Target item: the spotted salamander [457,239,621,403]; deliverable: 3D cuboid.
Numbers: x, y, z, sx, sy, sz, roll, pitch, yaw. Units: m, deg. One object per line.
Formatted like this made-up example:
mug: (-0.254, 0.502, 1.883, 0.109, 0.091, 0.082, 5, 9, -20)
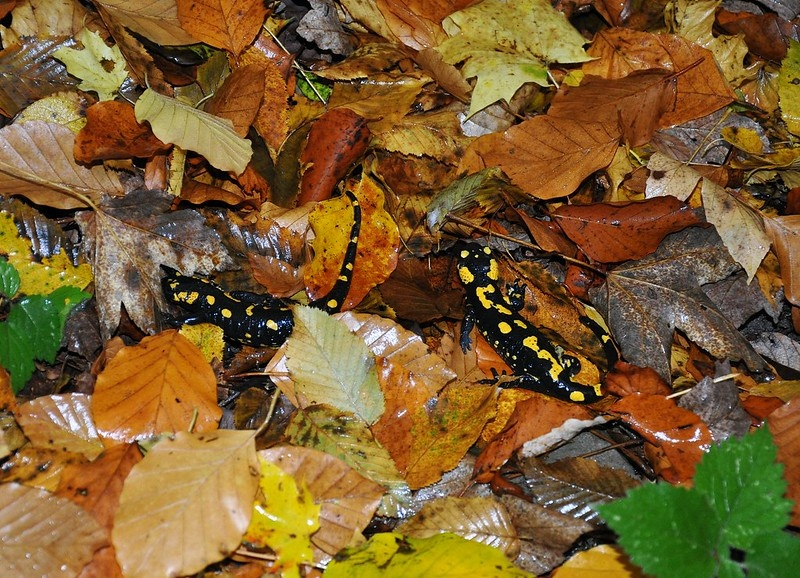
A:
spotted salamander: (0.669, 0.250, 4.106, 0.610, 0.223, 0.978, -25, 67, -9)
